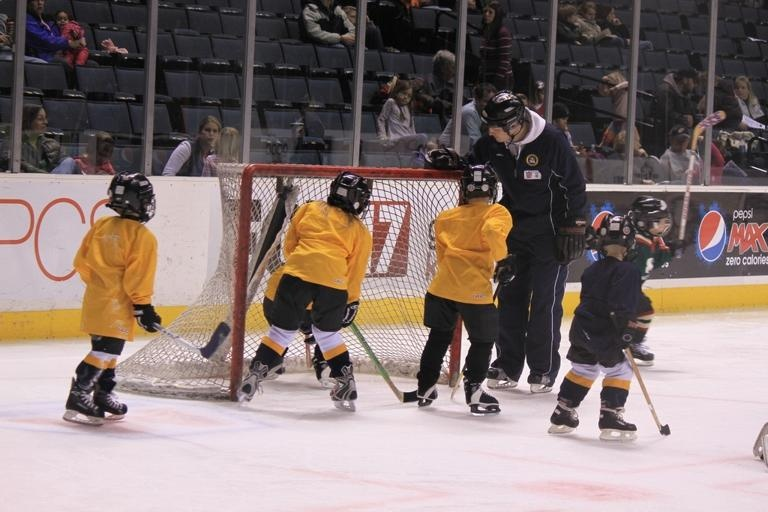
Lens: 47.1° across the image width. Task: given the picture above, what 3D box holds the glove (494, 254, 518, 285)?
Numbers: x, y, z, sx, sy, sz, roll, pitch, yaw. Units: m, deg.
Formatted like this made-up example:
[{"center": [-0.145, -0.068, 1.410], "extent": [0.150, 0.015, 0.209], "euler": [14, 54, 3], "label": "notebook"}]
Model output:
[{"center": [0.828, 0.104, 5.997], "extent": [0.080, 0.193, 0.145], "euler": [36, -28, -29], "label": "glove"}]

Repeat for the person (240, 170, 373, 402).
[{"center": [-0.481, 0.215, 5.706], "extent": [0.757, 1.530, 0.287], "euler": [3, 5, -1], "label": "person"}]

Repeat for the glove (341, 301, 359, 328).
[{"center": [-0.218, 0.389, 5.778], "extent": [0.131, 0.138, 0.162], "euler": [6, -14, 17], "label": "glove"}]

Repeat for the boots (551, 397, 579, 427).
[{"center": [1.093, 0.959, 5.370], "extent": [0.218, 0.186, 0.115], "euler": [0, 9, -6], "label": "boots"}]

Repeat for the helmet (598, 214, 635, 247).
[{"center": [1.404, -0.157, 5.316], "extent": [0.179, 0.194, 0.221], "euler": [4, 14, 11], "label": "helmet"}]

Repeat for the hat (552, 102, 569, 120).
[{"center": [1.844, -1.514, 9.182], "extent": [0.191, 0.134, 0.133], "euler": [23, -18, -36], "label": "hat"}]

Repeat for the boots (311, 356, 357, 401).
[{"center": [-0.307, 0.813, 5.872], "extent": [0.157, 0.241, 0.438], "euler": [-3, 9, -17], "label": "boots"}]

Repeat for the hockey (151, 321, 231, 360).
[{"center": [-1.192, 0.547, 5.819], "extent": [0.338, 0.084, 0.338], "euler": [25, 33, 30], "label": "hockey"}]

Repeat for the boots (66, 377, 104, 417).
[{"center": [-1.769, 0.840, 5.190], "extent": [0.222, 0.249, 0.124], "euler": [5, 6, 27], "label": "boots"}]

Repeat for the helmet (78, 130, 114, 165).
[{"center": [-2.426, -0.902, 7.367], "extent": [0.286, 0.247, 0.261], "euler": [3, -2, 41], "label": "helmet"}]

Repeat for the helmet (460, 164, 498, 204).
[{"center": [0.623, -0.473, 5.862], "extent": [0.220, 0.218, 0.267], "euler": [0, -15, 2], "label": "helmet"}]

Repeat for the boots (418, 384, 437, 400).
[{"center": [0.292, 0.915, 5.885], "extent": [0.130, 0.117, 0.079], "euler": [-3, -5, 37], "label": "boots"}]

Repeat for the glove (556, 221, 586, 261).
[{"center": [1.303, -0.104, 6.109], "extent": [0.238, 0.246, 0.112], "euler": [-2, 10, -26], "label": "glove"}]

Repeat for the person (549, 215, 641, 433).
[{"center": [1.296, 0.425, 5.283], "extent": [0.465, 1.345, 0.415], "euler": [1, 6, -19], "label": "person"}]

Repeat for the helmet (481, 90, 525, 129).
[{"center": [0.810, -0.981, 5.937], "extent": [0.282, 0.214, 0.248], "euler": [-11, -10, -3], "label": "helmet"}]

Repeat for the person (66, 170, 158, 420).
[{"center": [-1.615, 0.248, 5.241], "extent": [0.521, 1.482, 0.323], "euler": [1, 6, -19], "label": "person"}]

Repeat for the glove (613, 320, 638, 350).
[{"center": [1.405, 0.460, 5.115], "extent": [0.125, 0.157, 0.060], "euler": [4, 8, 7], "label": "glove"}]

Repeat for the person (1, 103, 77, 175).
[{"center": [-2.836, -0.944, 7.155], "extent": [0.552, 0.673, 0.540], "euler": [7, 12, 24], "label": "person"}]

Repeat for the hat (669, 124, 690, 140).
[{"center": [3.265, -1.368, 9.733], "extent": [0.190, 0.134, 0.127], "euler": [13, -26, 3], "label": "hat"}]

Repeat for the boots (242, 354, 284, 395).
[{"center": [-0.749, 0.753, 5.739], "extent": [0.139, 0.168, 0.403], "euler": [13, 22, 34], "label": "boots"}]
